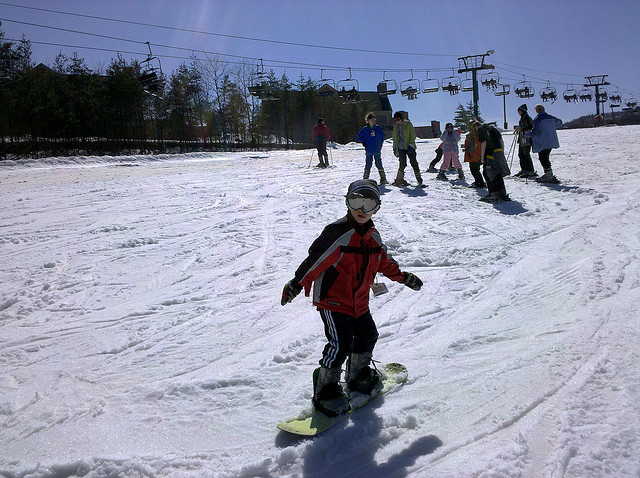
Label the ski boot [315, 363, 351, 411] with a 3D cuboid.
[{"bbox_3d":[0.090,1.222,4.006,0.227,0.391,0.402,2,0,-23],"label":"ski boot"}]

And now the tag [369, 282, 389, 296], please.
[{"bbox_3d":[0.501,0.422,4.165,0.133,0.125,0.288,1,9,10],"label":"tag"}]

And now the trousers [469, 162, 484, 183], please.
[{"bbox_3d":[3.906,-1.663,12.019,0.401,0.509,0.325,0,8,1],"label":"trousers"}]

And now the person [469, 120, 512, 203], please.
[{"bbox_3d":[3.637,-1.581,10.105,0.702,1.620,0.517,2,8,17],"label":"person"}]

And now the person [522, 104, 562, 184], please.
[{"bbox_3d":[5.334,-2.257,11.643,0.754,1.824,0.563,5,10,35],"label":"person"}]

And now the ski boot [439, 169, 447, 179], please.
[{"bbox_3d":[3.503,-1.854,13.762,0.215,0.259,0.320,1,9,13],"label":"ski boot"}]

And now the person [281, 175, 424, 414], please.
[{"bbox_3d":[0.195,0.457,3.967,1.082,1.869,0.293,-4,9,-26],"label":"person"}]

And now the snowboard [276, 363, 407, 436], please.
[{"bbox_3d":[0.202,1.354,4.047,1.181,0.239,0.250,-6,10,-34],"label":"snowboard"}]

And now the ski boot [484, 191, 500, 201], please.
[{"bbox_3d":[3.658,-0.891,10.227,0.200,0.194,0.205,1,-4,40],"label":"ski boot"}]

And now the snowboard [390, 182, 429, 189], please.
[{"bbox_3d":[2.337,-1.442,12.734,1.028,0.128,0.498,5,10,30],"label":"snowboard"}]

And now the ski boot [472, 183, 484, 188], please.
[{"bbox_3d":[3.934,-1.341,12.023,0.269,0.107,0.125,2,9,17],"label":"ski boot"}]

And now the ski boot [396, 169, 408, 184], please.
[{"bbox_3d":[2.097,-1.647,12.807,0.415,0.396,0.198,-12,30,-16],"label":"ski boot"}]

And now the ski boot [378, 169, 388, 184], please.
[{"bbox_3d":[1.700,-1.685,13.087,0.223,0.377,0.625,1,9,8],"label":"ski boot"}]

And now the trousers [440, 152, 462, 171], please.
[{"bbox_3d":[3.775,-2.266,13.967,0.529,0.496,0.892,2,9,13],"label":"trousers"}]

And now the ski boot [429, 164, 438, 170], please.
[{"bbox_3d":[3.583,-2.302,15.429,0.210,0.096,0.207,-9,-15,16],"label":"ski boot"}]

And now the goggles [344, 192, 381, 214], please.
[{"bbox_3d":[0.337,-0.291,3.851,0.271,0.174,0.079,0,8,5],"label":"goggles"}]

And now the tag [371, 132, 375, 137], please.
[{"bbox_3d":[1.324,-2.668,12.279,0.100,0.101,0.027,0,5,21],"label":"tag"}]

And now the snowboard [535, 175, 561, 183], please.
[{"bbox_3d":[5.543,-1.507,11.783,0.190,0.235,0.558,-16,23,-26],"label":"snowboard"}]

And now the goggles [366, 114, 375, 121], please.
[{"bbox_3d":[1.220,-2.979,11.813,0.109,0.146,0.144,-3,-6,-4],"label":"goggles"}]

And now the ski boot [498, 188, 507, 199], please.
[{"bbox_3d":[3.831,-0.955,10.144,0.147,0.199,0.207,-2,-6,3],"label":"ski boot"}]

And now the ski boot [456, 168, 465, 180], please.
[{"bbox_3d":[3.954,-1.828,13.569,0.194,0.288,0.396,2,9,16],"label":"ski boot"}]

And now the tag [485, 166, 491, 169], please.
[{"bbox_3d":[3.506,-1.490,10.057,0.097,0.052,0.038,5,10,32],"label":"tag"}]

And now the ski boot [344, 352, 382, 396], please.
[{"bbox_3d":[0.385,1.185,4.228,0.168,0.434,0.442,27,-25,-32],"label":"ski boot"}]

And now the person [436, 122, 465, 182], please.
[{"bbox_3d":[3.713,-2.439,13.730,0.784,1.533,1.695,2,9,14],"label":"person"}]

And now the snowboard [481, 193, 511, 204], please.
[{"bbox_3d":[3.748,-0.868,10.196,0.501,0.232,0.205,3,13,18],"label":"snowboard"}]

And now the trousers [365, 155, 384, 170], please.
[{"bbox_3d":[1.426,-2.035,12.792,0.437,0.380,0.637,0,9,5],"label":"trousers"}]
